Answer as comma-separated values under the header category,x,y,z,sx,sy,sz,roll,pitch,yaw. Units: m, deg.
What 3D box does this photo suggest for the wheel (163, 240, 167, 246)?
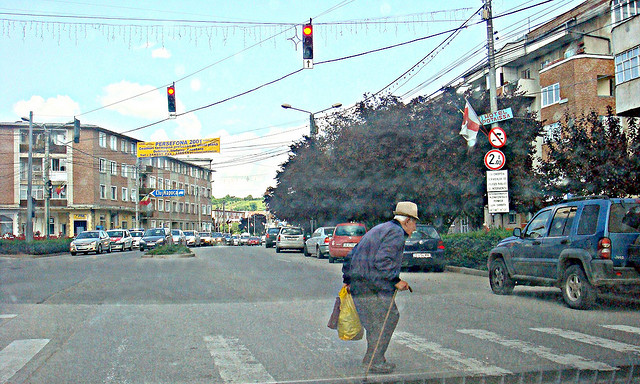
category,x,y,z,sx,sy,sz,roll,pitch,yaw
wheel,-10.649,3.484,46.778,0.235,0.242,0.212,-2,0,1

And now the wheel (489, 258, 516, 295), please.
category,x,y,z,sx,sy,sz,roll,pitch,yaw
wheel,6.393,2.975,24.081,0.470,1.368,1.264,3,-3,-23

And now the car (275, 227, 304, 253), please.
category,x,y,z,sx,sy,sz,roll,pitch,yaw
car,-2.140,3.398,47.680,2.031,1.847,1.052,3,11,14

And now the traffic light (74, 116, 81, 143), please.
category,x,y,z,sx,sy,sz,roll,pitch,yaw
traffic light,-14.669,-3.787,41.235,0.355,1.472,1.287,-4,11,-19

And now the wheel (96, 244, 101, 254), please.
category,x,y,z,sx,sy,sz,roll,pitch,yaw
wheel,-14.915,3.835,46.018,0.313,0.673,0.516,-4,11,-18

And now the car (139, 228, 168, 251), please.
category,x,y,z,sx,sy,sz,roll,pitch,yaw
car,-12.427,3.424,50.826,1.312,1.172,2.441,-2,-8,-6

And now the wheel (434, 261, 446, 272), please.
category,x,y,z,sx,sy,sz,roll,pitch,yaw
wheel,5.172,3.248,29.757,0.406,0.333,0.432,1,1,0

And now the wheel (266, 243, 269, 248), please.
category,x,y,z,sx,sy,sz,roll,pitch,yaw
wheel,-4.507,4.557,58.181,0.223,0.398,0.615,-2,11,-10

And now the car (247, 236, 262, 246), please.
category,x,y,z,sx,sy,sz,roll,pitch,yaw
car,-8.227,6.034,84.386,1.122,0.954,2.072,1,2,3

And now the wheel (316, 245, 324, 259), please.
category,x,y,z,sx,sy,sz,roll,pitch,yaw
wheel,-0.054,3.385,38.959,0.290,0.751,0.585,-10,15,-41

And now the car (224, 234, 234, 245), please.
category,x,y,z,sx,sy,sz,roll,pitch,yaw
car,-11.065,5.728,82.661,0.788,0.789,1.731,1,-7,-15

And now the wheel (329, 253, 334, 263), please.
category,x,y,z,sx,sy,sz,roll,pitch,yaw
wheel,0.551,3.400,34.823,0.229,0.396,0.544,0,10,0

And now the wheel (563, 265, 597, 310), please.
category,x,y,z,sx,sy,sz,roll,pitch,yaw
wheel,8.300,3.044,21.887,0.467,1.447,1.268,5,-9,-28

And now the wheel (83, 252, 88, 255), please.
category,x,y,z,sx,sy,sz,roll,pitch,yaw
wheel,-15.875,4.135,46.291,0.197,0.192,0.196,1,3,0

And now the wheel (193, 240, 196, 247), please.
category,x,y,z,sx,sy,sz,roll,pitch,yaw
wheel,-11.076,4.509,60.042,0.371,0.614,0.185,-4,-8,39

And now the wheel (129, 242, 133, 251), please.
category,x,y,z,sx,sy,sz,roll,pitch,yaw
wheel,-15.098,4.289,54.383,0.195,0.602,0.603,4,-15,2

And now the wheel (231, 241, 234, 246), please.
category,x,y,z,sx,sy,sz,roll,pitch,yaw
wheel,-10.362,5.999,80.312,0.419,0.497,0.491,1,1,1

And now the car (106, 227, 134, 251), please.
category,x,y,z,sx,sy,sz,roll,pitch,yaw
car,-15.509,3.635,52.533,1.592,1.293,2.773,-1,-9,-2

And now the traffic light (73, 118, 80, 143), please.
category,x,y,z,sx,sy,sz,roll,pitch,yaw
traffic light,-14.685,-3.766,41.237,0.286,1.415,1.172,-5,12,-23

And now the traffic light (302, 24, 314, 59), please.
category,x,y,z,sx,sy,sz,roll,pitch,yaw
traffic light,-0.566,-6.325,28.697,0.387,1.421,0.304,-1,11,-3

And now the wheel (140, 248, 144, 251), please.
category,x,y,z,sx,sy,sz,roll,pitch,yaw
wheel,-12.914,4.165,49.584,0.178,0.225,0.333,-1,0,-23
